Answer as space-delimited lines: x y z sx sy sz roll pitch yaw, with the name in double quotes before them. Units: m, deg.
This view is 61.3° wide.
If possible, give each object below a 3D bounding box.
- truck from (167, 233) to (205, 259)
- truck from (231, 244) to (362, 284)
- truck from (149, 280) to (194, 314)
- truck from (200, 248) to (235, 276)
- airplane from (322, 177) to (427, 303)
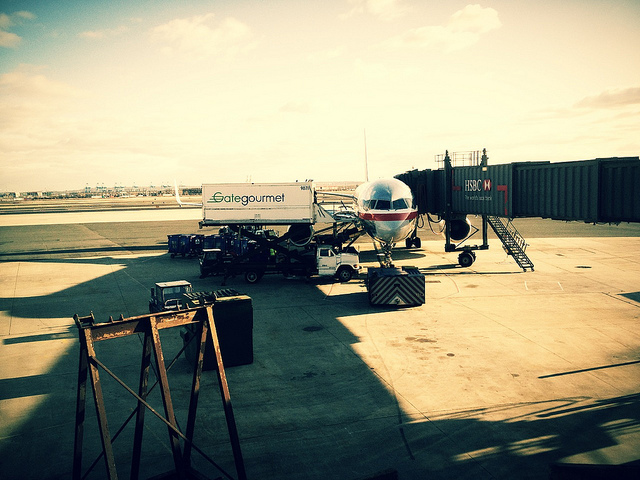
"truck" -13.622 0.970 55.641 3.594 2.240 2.771 -3 6 -23
"truck" -1.816 2.096 43.063 11.391 2.818 3.643 -1 6 1
"truck" -8.225 3.364 30.056 2.145 1.824 3.263 -3 9 -26
"truck" -8.141 1.712 42.899 2.690 1.864 1.659 1 1 -12
"airplane" 5.907 -1.315 47.048 8.265 7.436 21.997 -5 8 11
